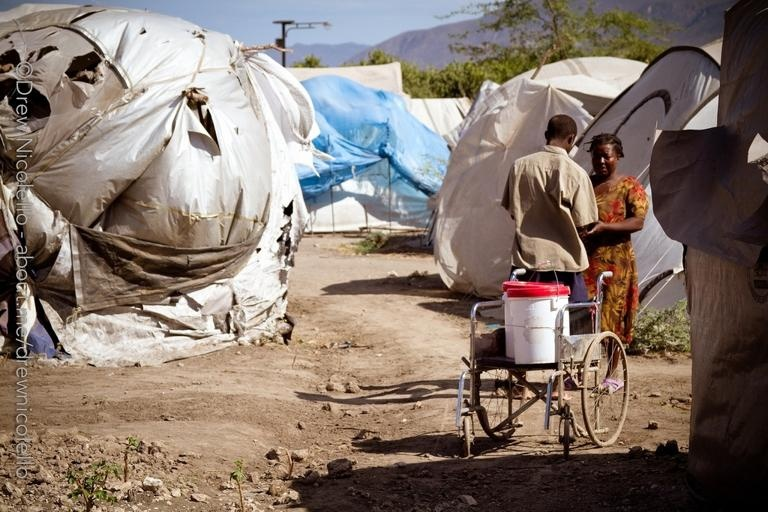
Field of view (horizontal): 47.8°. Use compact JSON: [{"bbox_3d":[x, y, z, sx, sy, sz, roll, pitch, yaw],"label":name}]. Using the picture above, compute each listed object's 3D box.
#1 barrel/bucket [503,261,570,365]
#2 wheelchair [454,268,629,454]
[{"bbox_3d":[1.298,0.550,7.460,0.710,0.673,0.682,0,2,0],"label":"barrel/bucket"},{"bbox_3d":[1.412,0.937,7.845,1.200,1.549,1.461,-2,-2,36],"label":"wheelchair"}]
